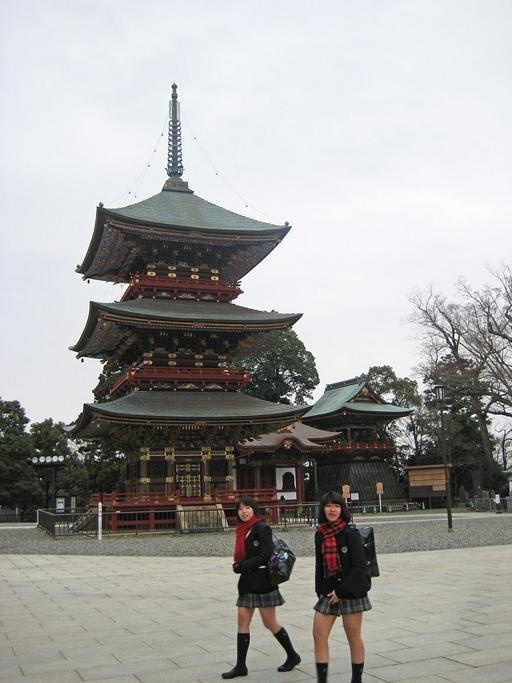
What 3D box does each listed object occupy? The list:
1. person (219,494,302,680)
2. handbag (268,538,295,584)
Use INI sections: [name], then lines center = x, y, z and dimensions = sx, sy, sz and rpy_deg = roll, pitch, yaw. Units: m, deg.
[person]
center = -0.021, 2.142, 5.837
dimensions = 0.648, 1.515, 0.485
rpy_deg = -6, -12, 1
[handbag]
center = 0.221, 1.961, 5.893
dimensions = 0.236, 0.435, 0.570
rpy_deg = -5, -11, 0
